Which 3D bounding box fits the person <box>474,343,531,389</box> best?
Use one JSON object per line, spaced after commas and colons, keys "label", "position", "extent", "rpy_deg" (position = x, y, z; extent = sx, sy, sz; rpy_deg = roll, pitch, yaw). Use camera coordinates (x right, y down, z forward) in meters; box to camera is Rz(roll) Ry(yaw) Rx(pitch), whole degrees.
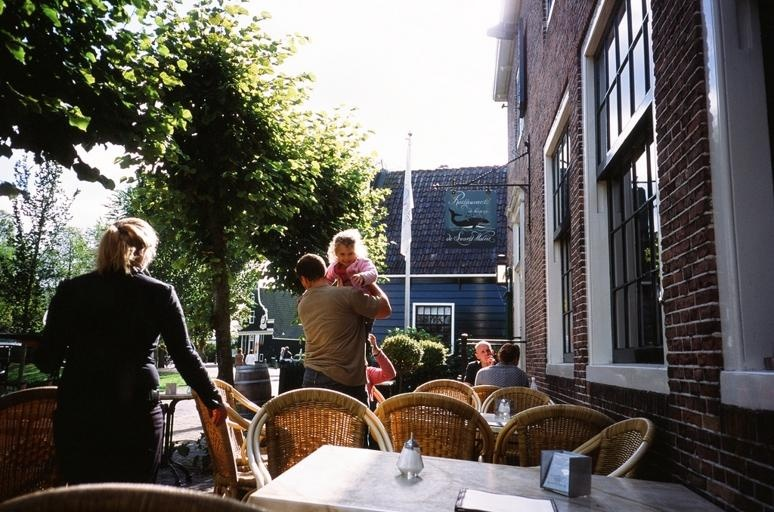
{"label": "person", "position": [1.490, 1.473, 7.158], "extent": [0.661, 0.772, 0.425], "rpy_deg": [2, -12, 25]}

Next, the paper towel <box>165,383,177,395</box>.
{"label": "paper towel", "position": [-2.896, 1.772, 7.706], "extent": [0.150, 0.175, 0.157], "rpy_deg": [4, 5, -4]}

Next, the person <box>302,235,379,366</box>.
{"label": "person", "position": [-0.365, 0.418, 5.702], "extent": [0.541, 1.263, 0.451], "rpy_deg": [-13, -3, 27]}

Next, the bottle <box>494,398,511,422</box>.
{"label": "bottle", "position": [1.108, 1.465, 5.429], "extent": [0.164, 0.266, 0.164], "rpy_deg": [2, -15, 1]}
